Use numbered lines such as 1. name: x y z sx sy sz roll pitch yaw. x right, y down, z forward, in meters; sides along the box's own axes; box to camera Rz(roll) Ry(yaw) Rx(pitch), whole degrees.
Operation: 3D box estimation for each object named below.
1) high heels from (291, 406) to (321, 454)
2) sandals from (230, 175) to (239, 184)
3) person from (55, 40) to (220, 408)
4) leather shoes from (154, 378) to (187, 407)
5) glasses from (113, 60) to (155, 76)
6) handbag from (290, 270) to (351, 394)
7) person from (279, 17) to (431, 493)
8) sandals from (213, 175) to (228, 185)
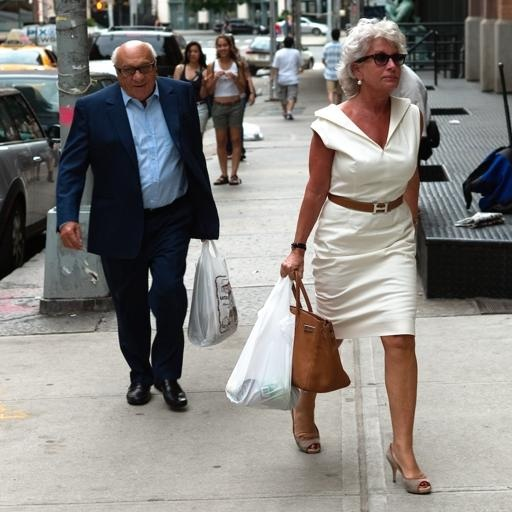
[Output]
1. high heels: 0.237 0.851 4.000 0.091 0.107 0.269 -2 8 -11
2. sandals: -0.294 -1.058 11.577 0.124 0.098 0.338 -1 6 0
3. person: -0.623 -0.166 4.569 0.883 1.963 0.558 -6 14 -11
4. leather shoes: -0.452 0.729 4.629 0.086 0.107 0.253 -3 31 -38
5. glasses: -0.633 -0.996 4.448 0.211 0.072 0.149 -5 14 -9
6. handbag: 0.263 0.400 3.553 0.243 0.352 0.176 -1 14 9
7. person: 0.531 -0.062 3.739 0.754 1.952 0.749 7 17 36
8. sandals: -0.463 -1.057 11.695 0.092 0.094 0.230 0 5 14
